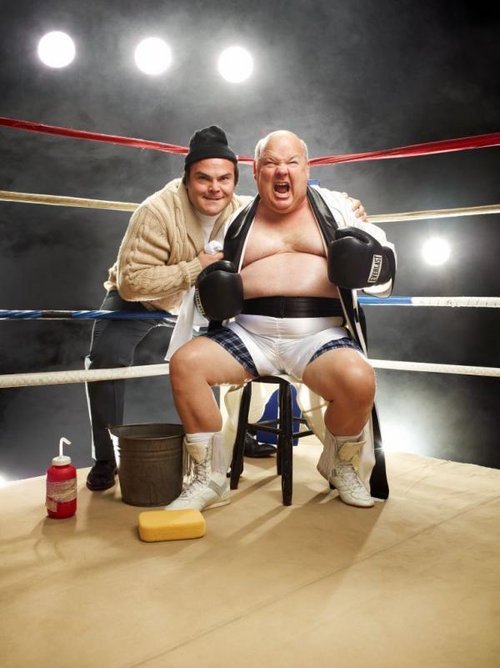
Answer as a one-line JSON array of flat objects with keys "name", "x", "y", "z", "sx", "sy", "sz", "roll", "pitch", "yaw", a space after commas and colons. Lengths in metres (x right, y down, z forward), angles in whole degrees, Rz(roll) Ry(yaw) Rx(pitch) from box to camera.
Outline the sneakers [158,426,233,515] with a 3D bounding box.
[{"name": "sneakers", "x": -0.173, "y": 0.444, "z": 1.580, "sx": 0.160, "sy": 0.254, "sz": 0.269, "roll": 0, "pitch": -2, "yaw": 7}]

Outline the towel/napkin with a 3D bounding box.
[{"name": "towel/napkin", "x": -0.251, "y": -0.127, "z": 1.874, "sx": 0.230, "sy": 0.424, "sz": 0.237, "roll": -2, "pitch": 15, "yaw": -15}]

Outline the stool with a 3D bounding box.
[{"name": "stool", "x": 0.115, "y": 0.342, "z": 1.882, "sx": 0.312, "sy": 0.443, "sz": 0.286, "roll": 2, "pitch": 3, "yaw": 44}]

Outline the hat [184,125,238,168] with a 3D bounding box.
[{"name": "hat", "x": -0.163, "y": -0.708, "z": 1.941, "sx": 0.170, "sy": 0.155, "sz": 0.204, "roll": 16, "pitch": 19, "yaw": 41}]

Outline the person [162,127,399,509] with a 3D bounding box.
[{"name": "person", "x": 0.052, "y": -0.104, "z": 1.814, "sx": 0.646, "sy": 1.260, "sz": 0.789, "roll": 0, "pitch": 1, "yaw": 35}]

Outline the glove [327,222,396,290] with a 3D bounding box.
[{"name": "glove", "x": 0.339, "y": -0.238, "z": 1.561, "sx": 0.215, "sy": 0.194, "sz": 0.144, "roll": 0, "pitch": -2, "yaw": -6}]

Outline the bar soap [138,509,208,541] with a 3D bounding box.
[{"name": "bar soap", "x": -0.219, "y": 0.534, "z": 1.390, "sx": 0.181, "sy": 0.064, "sz": 0.099, "roll": 0, "pitch": -2, "yaw": -6}]

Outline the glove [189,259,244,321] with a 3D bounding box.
[{"name": "glove", "x": -0.108, "y": -0.151, "z": 1.635, "sx": 0.186, "sy": 0.176, "sz": 0.170, "roll": -3, "pitch": 14, "yaw": -16}]

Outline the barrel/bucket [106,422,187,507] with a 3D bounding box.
[{"name": "barrel/bucket", "x": -0.321, "y": 0.447, "z": 1.750, "sx": 0.277, "sy": 0.246, "sz": 0.257, "roll": 0, "pitch": 0, "yaw": 0}]

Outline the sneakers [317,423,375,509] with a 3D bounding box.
[{"name": "sneakers", "x": 0.301, "y": 0.444, "z": 1.668, "sx": 0.171, "sy": 0.196, "sz": 0.392, "roll": 1, "pitch": -1, "yaw": -13}]
